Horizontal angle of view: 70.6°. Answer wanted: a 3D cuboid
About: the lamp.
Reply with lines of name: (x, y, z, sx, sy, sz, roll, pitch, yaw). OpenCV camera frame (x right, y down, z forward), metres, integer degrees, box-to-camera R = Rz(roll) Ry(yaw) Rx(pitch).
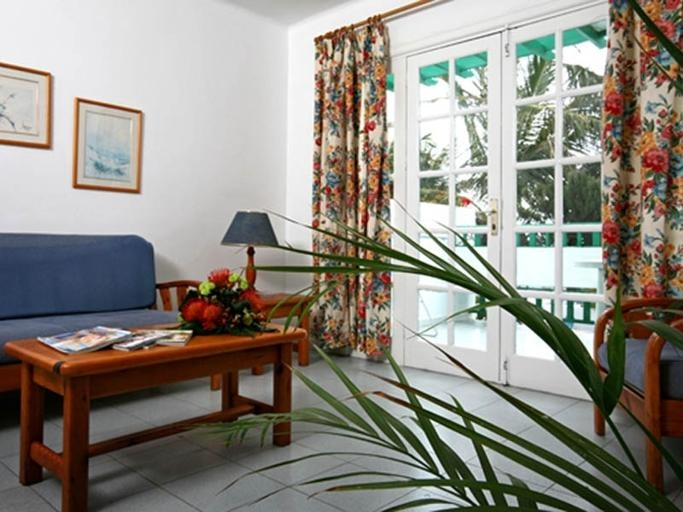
lamp: (-0.745, -0.023, 4.053, 0.489, 0.624, 0.507, 5, 0, 7)

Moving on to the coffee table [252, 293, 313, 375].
coffee table: (-0.386, 0.587, 3.810, 0.354, 0.431, 0.441, 13, -10, 22)
